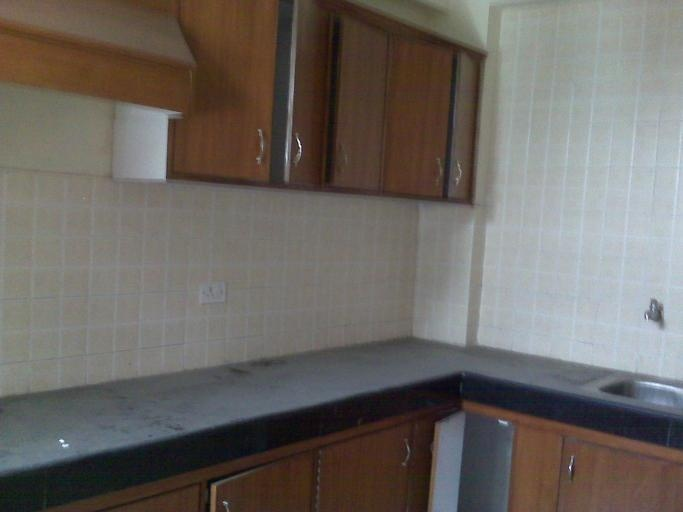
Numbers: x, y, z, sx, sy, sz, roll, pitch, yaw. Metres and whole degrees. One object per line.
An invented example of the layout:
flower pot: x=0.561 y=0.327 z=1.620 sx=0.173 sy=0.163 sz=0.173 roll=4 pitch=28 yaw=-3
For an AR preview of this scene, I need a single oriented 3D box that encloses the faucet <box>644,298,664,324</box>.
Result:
faucet: x=1.681 y=0.301 z=3.100 sx=0.096 sy=0.144 sz=0.080 roll=7 pitch=7 yaw=28
